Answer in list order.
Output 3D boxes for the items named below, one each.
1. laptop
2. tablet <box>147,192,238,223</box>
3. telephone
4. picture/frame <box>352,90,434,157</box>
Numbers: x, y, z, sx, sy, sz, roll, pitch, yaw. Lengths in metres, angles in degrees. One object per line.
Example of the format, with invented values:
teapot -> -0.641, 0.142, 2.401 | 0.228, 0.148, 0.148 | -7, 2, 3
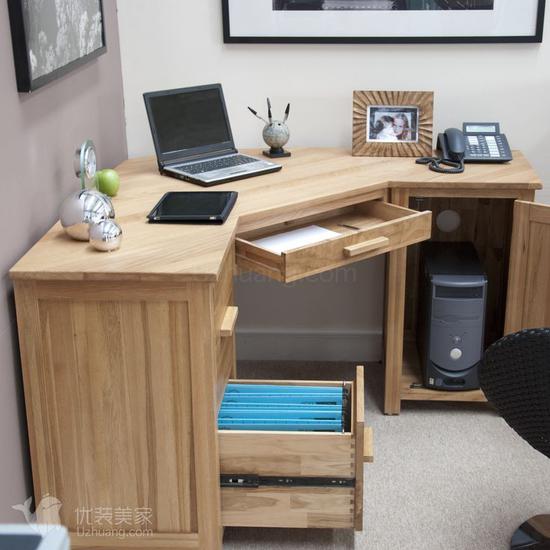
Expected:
laptop -> -0.241, -0.496, 1.927 | 0.405, 0.364, 0.451 | 25, 34, 38
tablet -> -0.211, -0.176, 1.454 | 0.192, 0.011, 0.255 | 4, 25, 7
telephone -> 0.742, -0.484, 2.045 | 0.227, 0.115, 0.203 | -3, 31, -4
picture/frame -> 0.425, -0.563, 2.043 | 0.286, 0.250, 0.133 | 5, 25, 10
